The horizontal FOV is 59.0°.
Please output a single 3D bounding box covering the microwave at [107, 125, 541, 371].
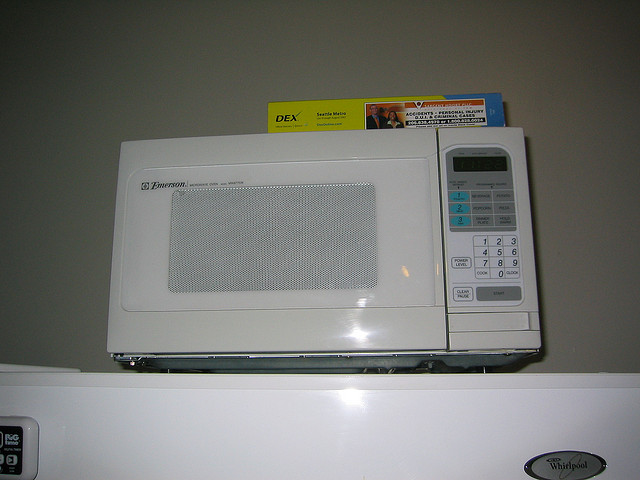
[{"bbox_3d":[-0.005,0.034,1.287,0.811,0.447,0.412,-2,-6,0],"label":"microwave"}]
